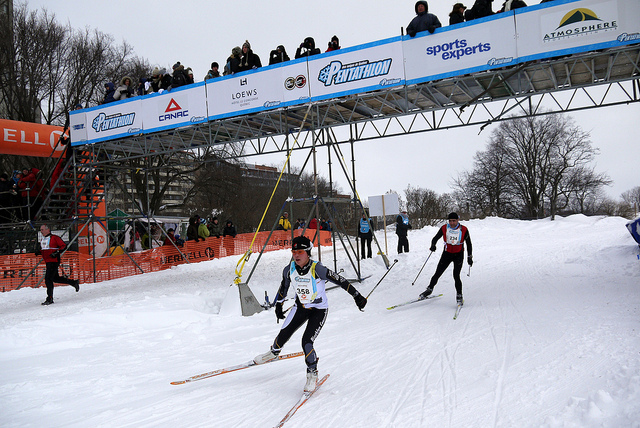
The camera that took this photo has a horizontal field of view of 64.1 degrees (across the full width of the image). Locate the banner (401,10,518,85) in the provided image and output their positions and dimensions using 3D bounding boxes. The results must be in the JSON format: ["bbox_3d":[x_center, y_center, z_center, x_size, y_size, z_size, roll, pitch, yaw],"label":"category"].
[{"bbox_3d":[4.053,-4.943,15.243,3.361,1.797,0.039,-6,-15,23],"label":"banner"}]

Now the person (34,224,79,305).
[{"bbox_3d":[-8.735,1.618,16.870,1.081,2.612,1.214,-2,-1,-30],"label":"person"}]

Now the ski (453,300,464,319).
[{"bbox_3d":[3.617,2.512,13.315,0.210,0.088,1.611,30,13,15],"label":"ski"}]

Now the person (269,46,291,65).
[{"bbox_3d":[-1.422,-5.328,17.150,0.737,0.507,0.703,-4,-2,11],"label":"person"}]

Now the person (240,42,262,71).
[{"bbox_3d":[-2.455,-5.467,17.640,0.737,0.758,0.199,-4,-1,14],"label":"person"}]

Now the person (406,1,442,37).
[{"bbox_3d":[3.114,-5.959,15.525,0.933,1.020,0.237,-4,-1,17],"label":"person"}]
